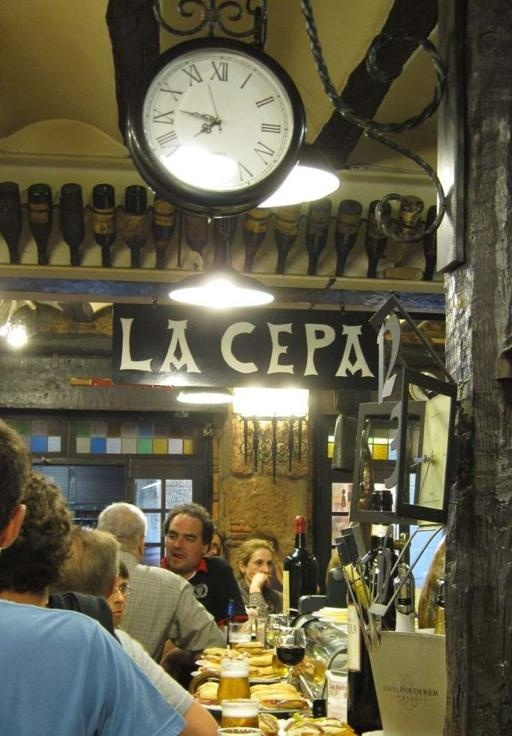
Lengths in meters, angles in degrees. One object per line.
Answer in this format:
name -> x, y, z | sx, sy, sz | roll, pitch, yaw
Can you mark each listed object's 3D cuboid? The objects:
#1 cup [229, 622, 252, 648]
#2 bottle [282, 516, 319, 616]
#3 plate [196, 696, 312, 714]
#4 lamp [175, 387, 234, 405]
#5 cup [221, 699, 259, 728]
cup -> -0.053, 0.868, 3.255 | 0.078, 0.073, 0.072 | -2, -9, 0
bottle -> 0.165, 0.751, 3.861 | 0.126, 0.351, 0.331 | -2, -11, 2
plate -> -0.003, 0.764, 2.264 | 0.141, 0.032, 0.187 | 2, -13, -10
lamp -> -0.320, 0.168, 6.052 | 0.304, 0.071, 0.689 | -1, -11, -4
cup -> -0.032, 0.681, 1.968 | 0.055, 0.053, 0.054 | -1, -3, 0
